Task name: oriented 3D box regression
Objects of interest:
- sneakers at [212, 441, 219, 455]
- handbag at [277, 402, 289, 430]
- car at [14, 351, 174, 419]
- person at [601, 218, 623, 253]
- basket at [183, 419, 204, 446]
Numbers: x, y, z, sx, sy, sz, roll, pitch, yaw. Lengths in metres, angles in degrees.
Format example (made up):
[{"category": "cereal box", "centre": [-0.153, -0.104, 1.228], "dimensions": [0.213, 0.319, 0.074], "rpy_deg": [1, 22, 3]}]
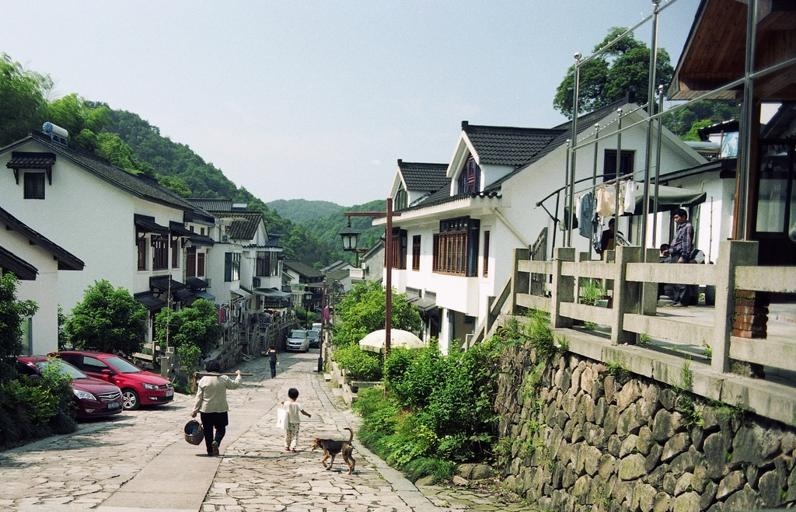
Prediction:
[{"category": "sneakers", "centre": [-4.686, 4.967, 21.273], "dimensions": [0.121, 0.332, 0.136], "rpy_deg": [-4, 4, -9]}, {"category": "handbag", "centre": [-3.073, 4.348, 22.343], "dimensions": [0.311, 0.619, 0.475], "rpy_deg": [10, -5, -6]}, {"category": "car", "centre": [-10.375, 4.361, 28.141], "dimensions": [3.855, 1.396, 1.855], "rpy_deg": [1, -2, 13]}, {"category": "person", "centre": [5.881, -0.338, 22.725], "dimensions": [0.512, 1.301, 0.343], "rpy_deg": [-3, 23, 3]}, {"category": "basket", "centre": [-5.247, 4.597, 21.346], "dimensions": [0.491, 0.593, 0.662], "rpy_deg": [12, -6, -12]}]
